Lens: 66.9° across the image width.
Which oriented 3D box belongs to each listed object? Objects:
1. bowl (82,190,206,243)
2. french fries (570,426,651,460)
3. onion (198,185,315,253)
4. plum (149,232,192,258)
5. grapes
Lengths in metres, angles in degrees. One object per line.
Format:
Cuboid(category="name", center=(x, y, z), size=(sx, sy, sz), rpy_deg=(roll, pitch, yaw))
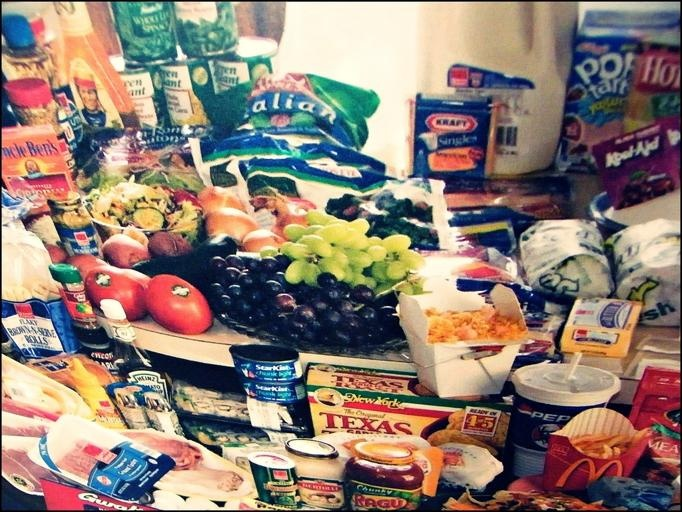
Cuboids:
Cuboid(category="bowl", center=(-0.872, -0.211, 2.359), size=(0.585, 0.172, 0.253), rpy_deg=(12, 37, 5))
Cuboid(category="french fries", center=(1.181, 0.820, 2.272), size=(0.287, 0.070, 0.120), rpy_deg=(-4, 17, 1))
Cuboid(category="onion", center=(-0.386, -0.176, 2.322), size=(0.467, 0.323, 0.148), rpy_deg=(-5, 26, 11))
Cuboid(category="plum", center=(-0.801, -0.053, 2.442), size=(0.196, 0.071, 0.119), rpy_deg=(5, 7, 2))
Cuboid(category="grapes", center=(-0.090, 0.082, 2.387), size=(1.044, 0.590, 0.363), rpy_deg=(4, 55, 12))
